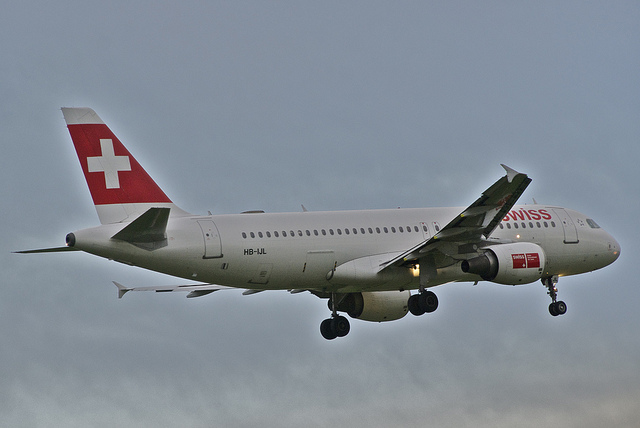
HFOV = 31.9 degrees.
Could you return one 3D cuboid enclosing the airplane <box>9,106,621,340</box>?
[{"bbox_3d":[0.404,0.965,34.818,11.744,3.503,11.026,-2,-2,-27],"label":"airplane"}]
